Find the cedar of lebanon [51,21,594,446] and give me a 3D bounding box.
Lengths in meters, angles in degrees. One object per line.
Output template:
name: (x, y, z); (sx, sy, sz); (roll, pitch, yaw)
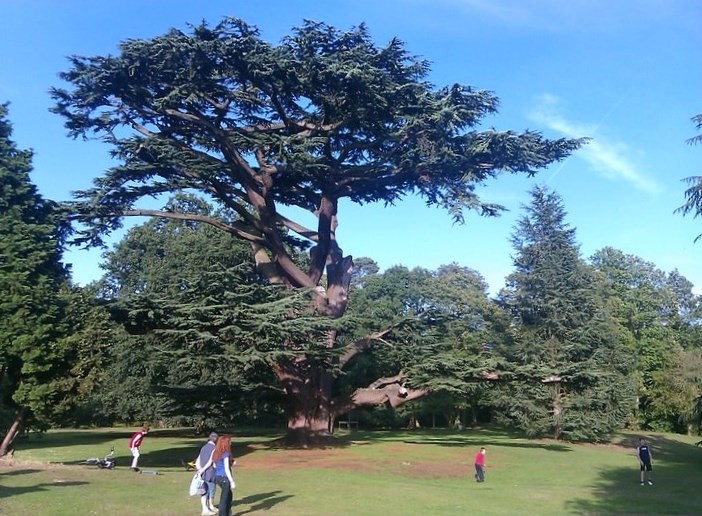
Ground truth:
cedar of lebanon: (-2.632, 0.255, 37.883); (31.529, 19.533, 24.821); (-9, -17, 44)
